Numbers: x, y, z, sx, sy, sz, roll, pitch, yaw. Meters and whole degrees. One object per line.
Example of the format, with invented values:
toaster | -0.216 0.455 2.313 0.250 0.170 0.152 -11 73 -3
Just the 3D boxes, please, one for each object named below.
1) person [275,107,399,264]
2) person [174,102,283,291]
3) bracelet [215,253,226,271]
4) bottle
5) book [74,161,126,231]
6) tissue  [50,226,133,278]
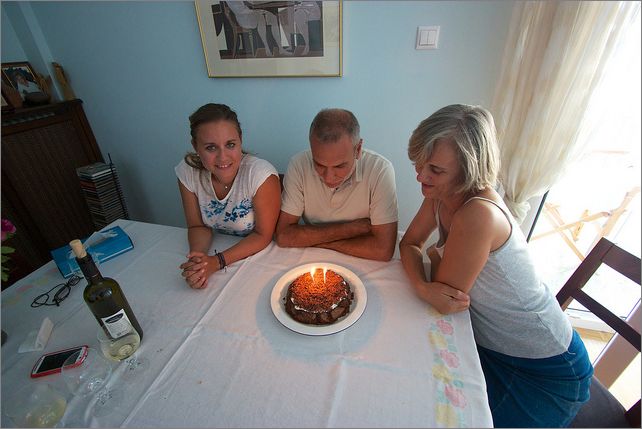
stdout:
person | 0.136 -0.053 2.470 0.858 1.314 0.718 10 34 20
person | -0.713 -0.212 2.344 0.768 1.018 0.673 -24 46 -37
bracelet | -0.641 0.297 2.177 0.044 0.095 0.071 -16 51 -20
bottle | -1.141 0.438 1.795 0.173 0.625 0.149 -29 47 -35
book | -2.198 -0.179 3.350 0.426 0.775 0.261 20 39 32
tissue  | -1.517 0.228 2.259 0.302 0.096 0.433 16 36 40
